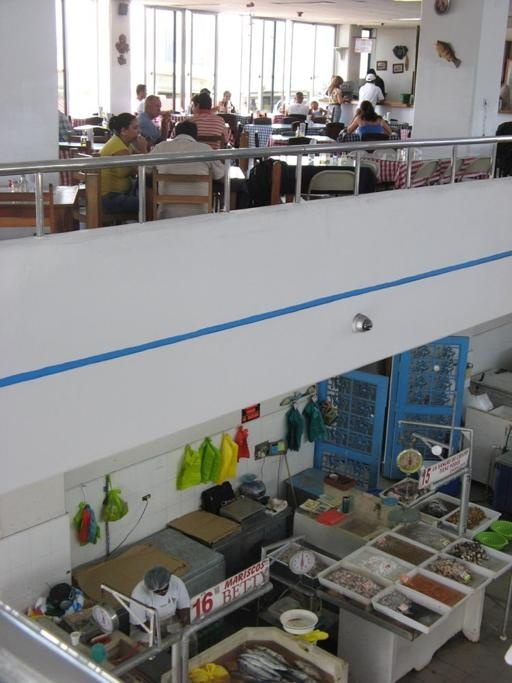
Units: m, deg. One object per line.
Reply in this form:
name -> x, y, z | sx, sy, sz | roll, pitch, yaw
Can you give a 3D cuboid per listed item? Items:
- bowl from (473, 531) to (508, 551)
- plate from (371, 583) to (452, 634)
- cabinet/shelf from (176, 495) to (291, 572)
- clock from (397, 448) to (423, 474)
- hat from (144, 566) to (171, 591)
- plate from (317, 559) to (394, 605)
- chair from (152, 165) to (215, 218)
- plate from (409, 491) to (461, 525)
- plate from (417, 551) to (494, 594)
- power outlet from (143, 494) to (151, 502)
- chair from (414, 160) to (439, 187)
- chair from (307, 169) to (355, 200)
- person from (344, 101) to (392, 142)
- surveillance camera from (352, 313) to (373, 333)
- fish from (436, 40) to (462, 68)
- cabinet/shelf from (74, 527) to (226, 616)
bowl -> 2.269, 1.929, 5.411 | 0.267, 0.063, 0.253 | 0, 13, 0
plate -> 1.172, 2.060, 4.289 | 0.485, 0.114, 0.303 | 11, 17, 32
cabinet/shelf -> -0.337, 1.933, 5.984 | 0.675, 0.476, 1.003 | 17, 25, 39
clock -> 1.388, 1.100, 5.059 | 0.186, 0.281, 0.271 | 7, 15, 20
hat -> -0.627, 1.546, 3.622 | 0.144, 0.179, 0.181 | -2, -4, -8
plate -> 0.765, 1.954, 4.539 | 0.273, 0.071, 0.273 | 12, 17, 35
chair -> -0.505, -0.977, 3.711 | 0.374, 0.312, 0.437 | -1, 14, -12
plate -> 1.868, 1.726, 5.764 | 0.353, 0.081, 0.363 | 11, 20, 29
plate -> 1.670, 1.946, 4.686 | 0.403, 0.098, 0.286 | 16, 19, 40
power outlet -> -1.101, 1.567, 5.586 | 0.098, 0.095, 0.013 | -1, 4, -37
chair -> 1.566, -1.581, 5.216 | 0.217, 0.226, 0.300 | 6, 15, 15
chair -> 0.607, -1.254, 4.573 | 0.393, 0.263, 0.512 | 1, 26, 2
person -> 1.219, -2.333, 5.989 | 0.452, 0.445, 1.261 | 5, 14, 11
surveillance camera -> 0.685, -0.115, 3.551 | 0.189, 0.137, 0.046 | -11, 19, -41
fish -> 2.089, -3.143, 6.119 | 0.307, 0.226, 0.068 | 43, -10, -3
cabinet/shelf -> -0.915, 1.894, 4.588 | 0.651, 0.213, 0.946 | 19, 27, 40
